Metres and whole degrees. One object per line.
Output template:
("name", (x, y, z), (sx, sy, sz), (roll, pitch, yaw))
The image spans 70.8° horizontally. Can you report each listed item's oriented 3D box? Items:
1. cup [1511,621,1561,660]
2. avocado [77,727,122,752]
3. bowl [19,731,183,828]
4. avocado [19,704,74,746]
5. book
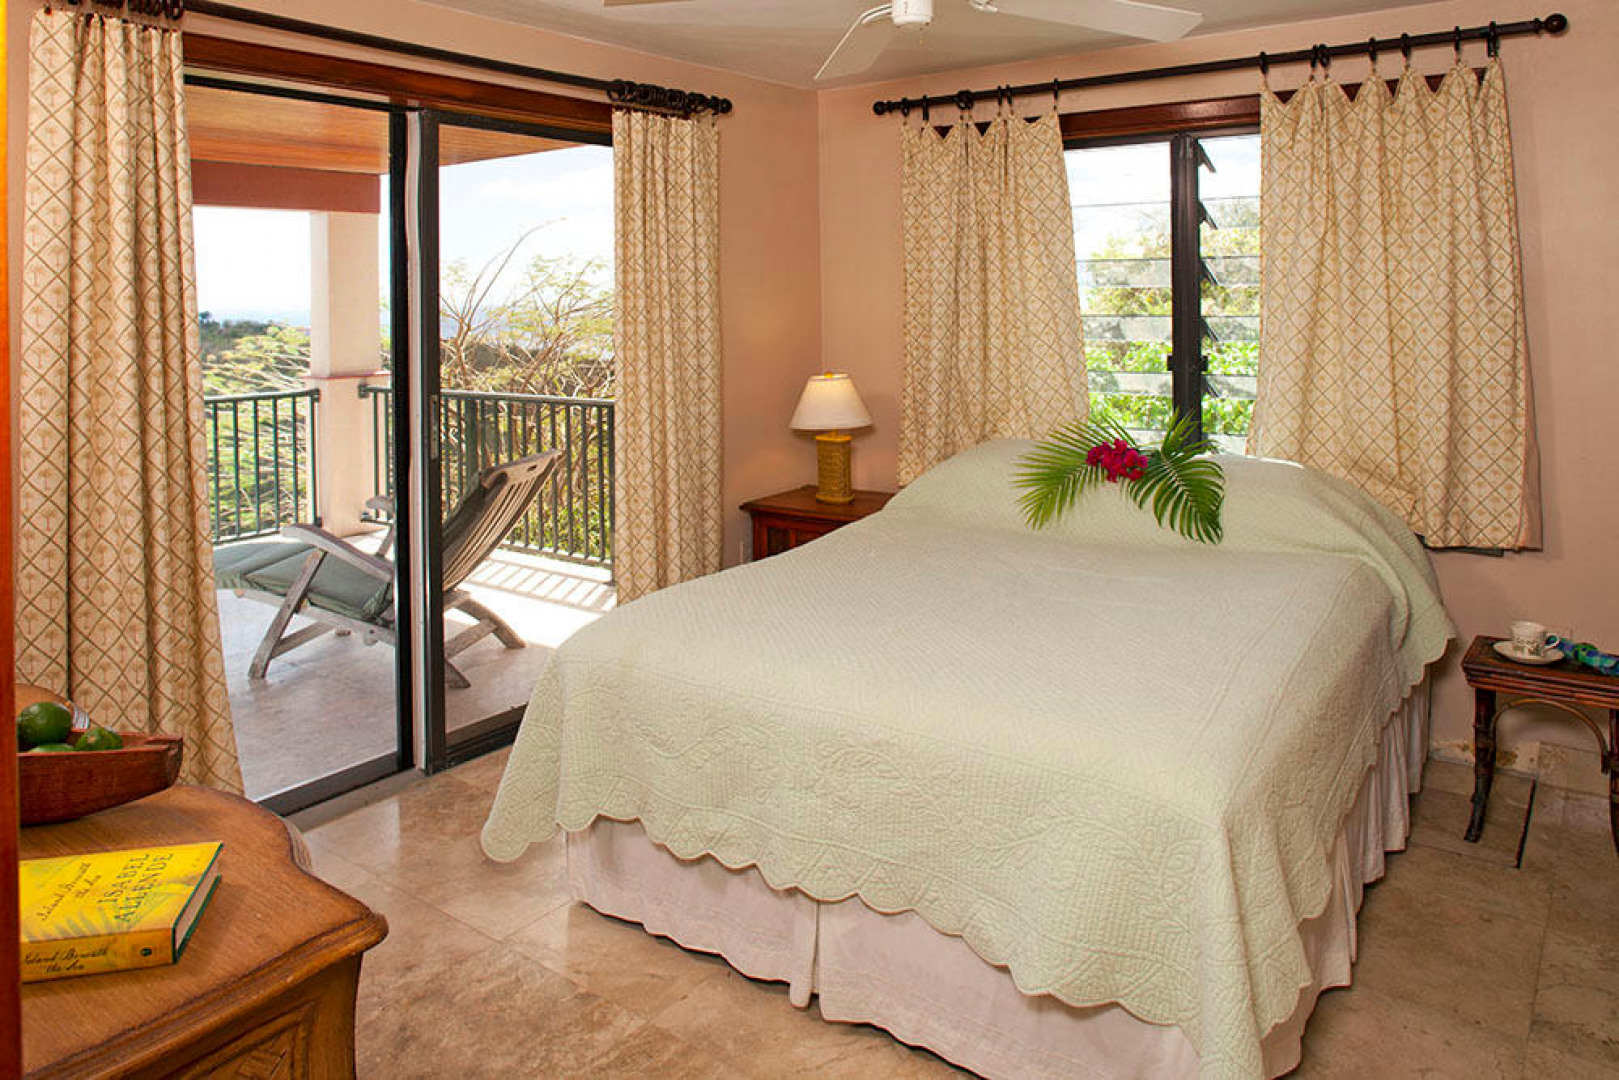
("cup", (2.568, 0.357, 4.064), (0.157, 0.110, 0.100), (3, -7, -42))
("avocado", (-1.340, 0.369, 2.153), (0.047, 0.029, 0.047), (1, -2, -7))
("bowl", (-1.311, 0.435, 2.116), (0.237, 0.093, 0.183), (2, -4, -27))
("avocado", (-1.439, 0.345, 2.146), (0.067, 0.070, 0.090), (9, -3, -12))
("book", (-1.171, 0.609, 1.920), (0.231, 0.053, 0.228), (1, 7, -15))
